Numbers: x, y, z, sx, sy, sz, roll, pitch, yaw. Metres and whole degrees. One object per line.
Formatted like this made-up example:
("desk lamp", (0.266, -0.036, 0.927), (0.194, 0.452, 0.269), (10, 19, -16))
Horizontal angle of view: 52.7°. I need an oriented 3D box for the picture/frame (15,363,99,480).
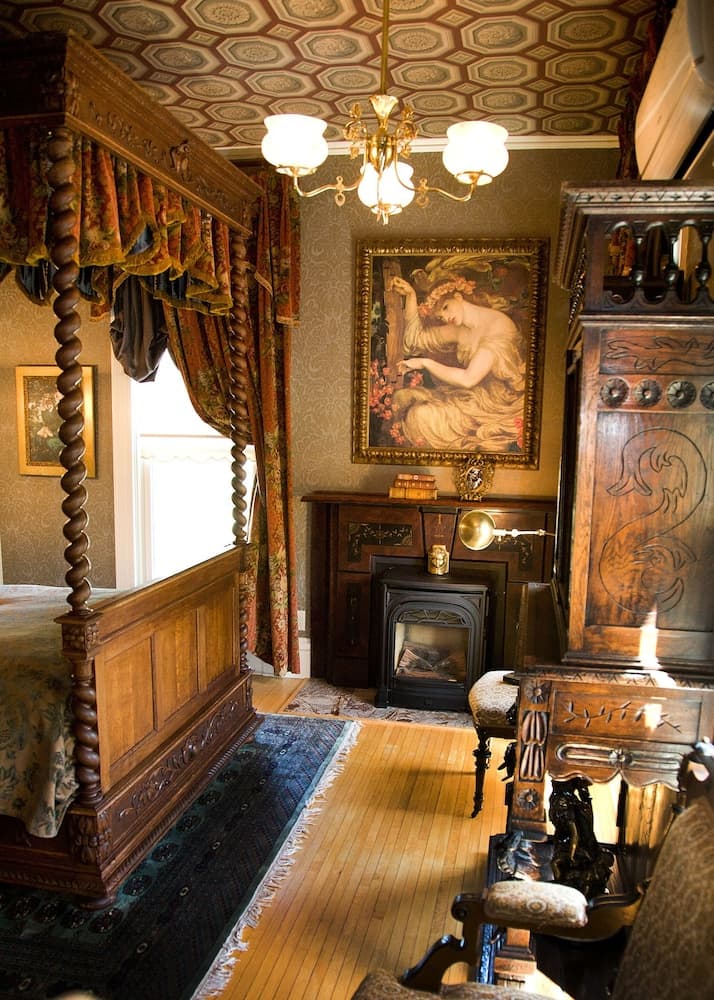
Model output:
("picture/frame", (-2.246, -0.579, 5.339), (0.678, 0.840, 0.134), (4, 5, 23))
